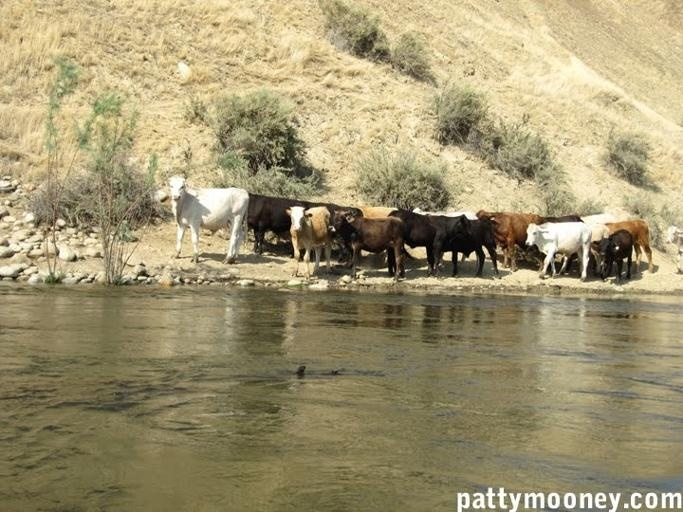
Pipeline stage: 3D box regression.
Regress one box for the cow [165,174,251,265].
[{"bbox_3d":[-3.592,-1.037,22.373,1.814,2.324,2.671,2,10,-1],"label":"cow"}]
